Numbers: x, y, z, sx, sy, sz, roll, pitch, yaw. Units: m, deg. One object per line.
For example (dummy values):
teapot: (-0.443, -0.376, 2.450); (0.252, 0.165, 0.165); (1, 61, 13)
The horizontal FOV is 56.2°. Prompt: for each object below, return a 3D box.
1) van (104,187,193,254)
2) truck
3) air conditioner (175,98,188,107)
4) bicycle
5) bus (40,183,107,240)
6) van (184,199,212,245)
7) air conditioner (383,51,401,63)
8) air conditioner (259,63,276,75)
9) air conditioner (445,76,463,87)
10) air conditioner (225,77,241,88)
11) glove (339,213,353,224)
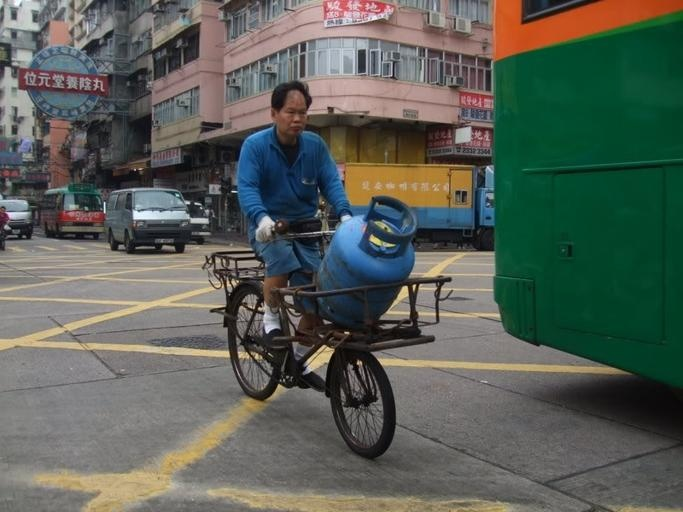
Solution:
van: (-6.876, -1.268, 22.408); (1.806, 1.678, 3.442); (0, -1, -27)
truck: (2.985, -1.882, 24.816); (5.260, 3.055, 2.939); (-1, 1, -5)
air conditioner: (-9.534, -9.179, 38.288); (0.612, 0.579, 0.885); (3, -3, -30)
bicycle: (-0.144, 0.401, 4.285); (0.658, 1.609, 1.694); (-3, 7, -33)
bus: (-14.596, -2.192, 35.709); (2.864, 3.560, 6.912); (-1, 0, -30)
van: (-6.228, -1.423, 27.877); (1.081, 1.097, 2.100); (-1, -1, -9)
air conditioner: (2.251, -8.544, 27.416); (0.810, 0.470, 0.362); (-3, 7, -33)
air conditioner: (-3.382, -8.630, 29.558); (0.426, 0.661, 1.222); (-3, 7, -28)
air conditioner: (5.314, -8.097, 29.674); (0.906, 0.504, 0.285); (-2, 6, -25)
air conditioner: (-5.500, -8.834, 32.631); (0.701, 0.464, 0.714); (3, -2, -30)
glove: (0.027, -0.247, 4.253); (0.068, 0.068, 0.096); (-8, 1, -21)
